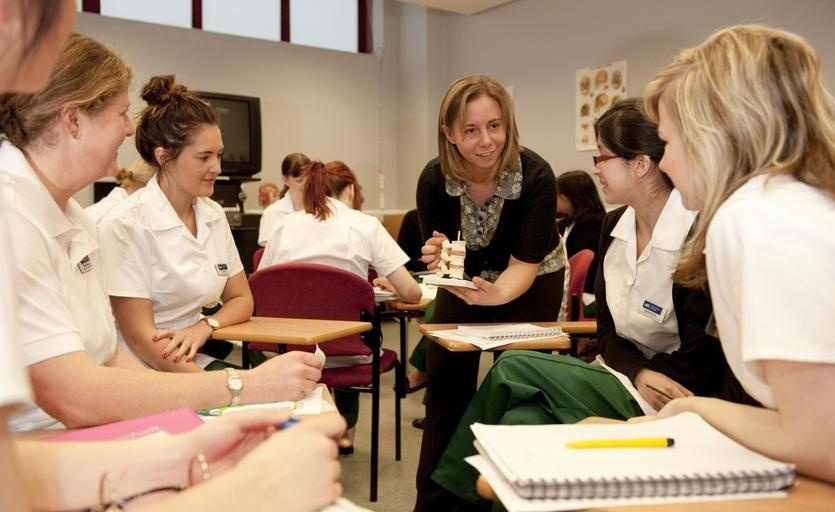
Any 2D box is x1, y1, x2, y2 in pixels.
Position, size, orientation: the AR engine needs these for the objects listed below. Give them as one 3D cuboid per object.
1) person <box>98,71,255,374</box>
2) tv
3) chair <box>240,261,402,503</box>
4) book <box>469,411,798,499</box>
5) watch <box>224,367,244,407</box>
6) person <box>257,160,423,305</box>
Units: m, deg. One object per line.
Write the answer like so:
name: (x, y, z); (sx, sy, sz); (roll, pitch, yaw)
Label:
person: (-0.976, -0.098, 2.601); (0.637, 1.248, 0.808); (5, 11, -14)
tv: (-2.063, -1.190, 6.490); (0.764, 0.909, 0.656); (-3, 7, -30)
chair: (-0.466, 0.592, 3.302); (0.807, 1.168, 0.812); (-1, 5, -7)
book: (0.510, 0.477, 1.606); (0.589, 0.062, 0.628); (-6, -1, 14)
watch: (-0.559, 0.397, 1.910); (0.059, 0.099, 0.103); (-2, -21, -26)
person: (-0.451, 0.075, 3.568); (0.917, 1.180, 0.636); (-1, -7, 0)
